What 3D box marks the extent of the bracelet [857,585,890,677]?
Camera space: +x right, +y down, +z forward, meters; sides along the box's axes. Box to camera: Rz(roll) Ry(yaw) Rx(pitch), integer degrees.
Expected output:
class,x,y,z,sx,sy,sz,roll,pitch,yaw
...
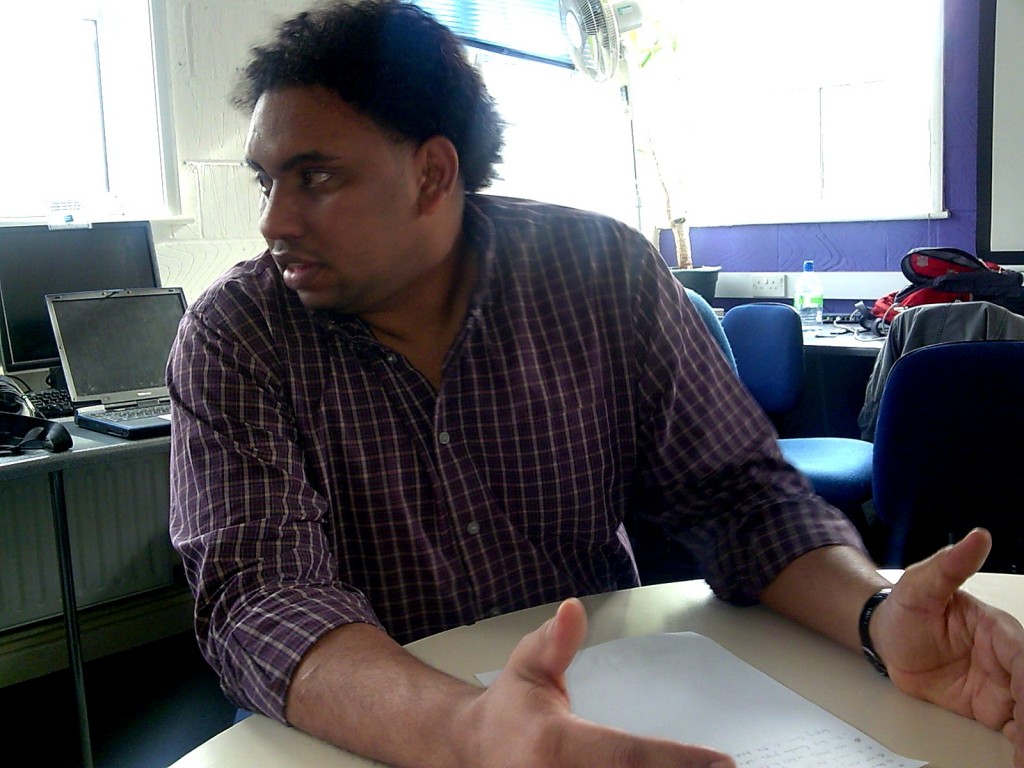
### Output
class,x,y,z,sx,sy,sz,roll,pitch,yaw
bracelet,0.426,0.287,0.945,0.036,0.082,0.100,6,9,24
